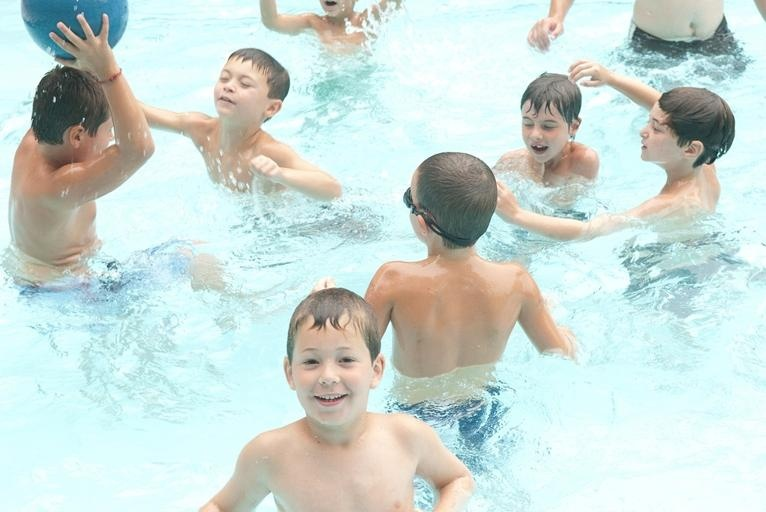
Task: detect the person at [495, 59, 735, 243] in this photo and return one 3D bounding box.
[{"bbox_3d":[1.451,-0.609,4.039,0.635,1.156,0.587,10,72,12],"label":"person"}]

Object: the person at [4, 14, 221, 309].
[{"bbox_3d":[-1.561,-0.491,3.215,0.844,1.321,0.553,-12,39,-16],"label":"person"}]

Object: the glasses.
[{"bbox_3d":[0.220,-0.151,2.874,0.294,0.070,0.220,44,21,22],"label":"glasses"}]
